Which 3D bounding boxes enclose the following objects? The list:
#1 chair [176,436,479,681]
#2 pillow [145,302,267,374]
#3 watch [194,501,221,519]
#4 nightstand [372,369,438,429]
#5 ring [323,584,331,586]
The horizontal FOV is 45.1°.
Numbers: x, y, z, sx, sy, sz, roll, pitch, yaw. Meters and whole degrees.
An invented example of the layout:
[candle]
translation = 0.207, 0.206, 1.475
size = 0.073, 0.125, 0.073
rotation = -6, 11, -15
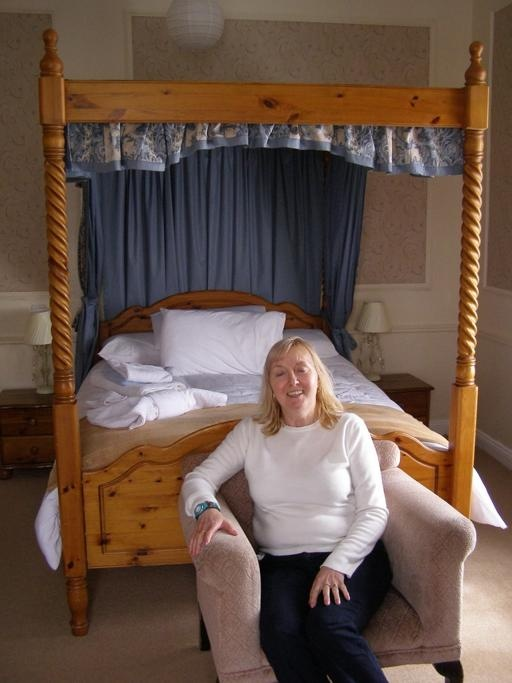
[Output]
[chair]
translation = 0.179, 0.545, 2.108
size = 0.971, 0.707, 0.688
rotation = -2, -3, -9
[pillow]
translation = -0.238, -0.038, 3.854
size = 0.527, 0.508, 0.139
rotation = 0, -35, -7
[watch]
translation = -0.158, 0.538, 1.997
size = 0.062, 0.030, 0.064
rotation = -29, 2, 31
[nightstand]
translation = 1.094, 0.415, 4.534
size = 0.379, 0.368, 0.391
rotation = -1, 11, 8
[ring]
translation = 0.205, 0.710, 1.791
size = 0.009, 0.006, 0.009
rotation = -7, -12, -2
